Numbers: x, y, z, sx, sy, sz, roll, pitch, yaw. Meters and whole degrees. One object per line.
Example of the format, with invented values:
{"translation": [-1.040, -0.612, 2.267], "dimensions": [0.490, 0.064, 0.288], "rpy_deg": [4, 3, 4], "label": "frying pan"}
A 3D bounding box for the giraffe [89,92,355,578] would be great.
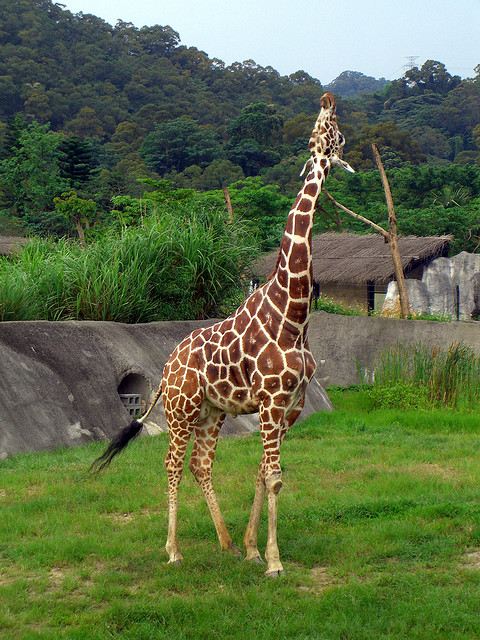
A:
{"translation": [0.099, 0.065, 6.560], "dimensions": [1.312, 3.153, 0.797], "rpy_deg": [-1, 1, 6], "label": "giraffe"}
